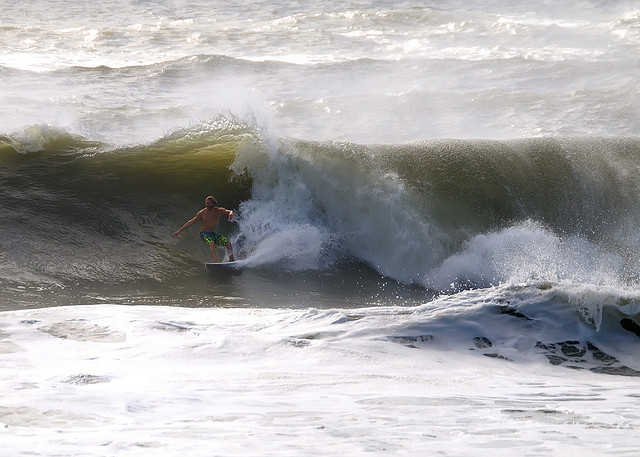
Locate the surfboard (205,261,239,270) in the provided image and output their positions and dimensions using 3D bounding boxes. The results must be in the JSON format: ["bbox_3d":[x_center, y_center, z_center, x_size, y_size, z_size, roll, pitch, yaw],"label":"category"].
[{"bbox_3d":[-1.900,0.701,18.144,0.632,0.135,0.113,-2,21,-10],"label":"surfboard"}]

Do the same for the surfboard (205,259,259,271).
[{"bbox_3d":[-1.744,0.694,18.129,1.107,0.143,0.251,-6,50,-8],"label":"surfboard"}]

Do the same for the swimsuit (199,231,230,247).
[{"bbox_3d":[-2.057,0.205,18.249,0.531,0.131,0.260,13,0,2],"label":"swimsuit"}]

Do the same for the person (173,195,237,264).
[{"bbox_3d":[-2.251,-0.033,18.443,1.177,1.278,1.282,-1,20,-6],"label":"person"}]
